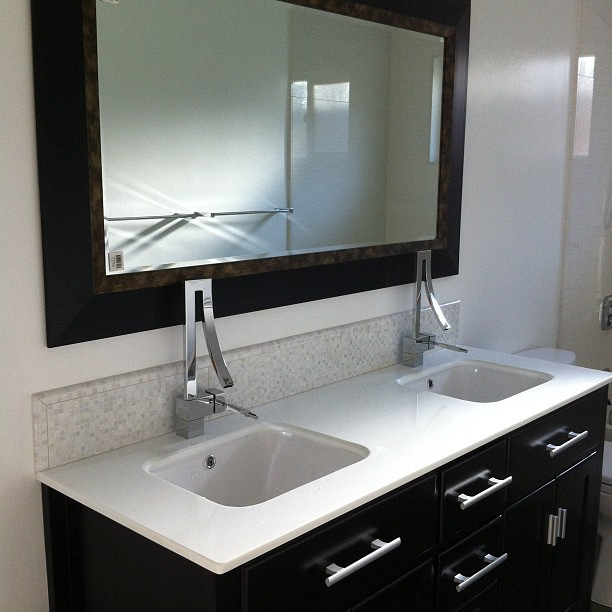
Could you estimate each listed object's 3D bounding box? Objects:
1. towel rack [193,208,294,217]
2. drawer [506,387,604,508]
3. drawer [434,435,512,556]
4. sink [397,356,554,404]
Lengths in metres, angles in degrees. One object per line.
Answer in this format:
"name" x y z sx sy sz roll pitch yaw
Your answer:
"towel rack" -0.148 -0.235 1.434 0.008 0.024 0.325 7 11 42
"drawer" 0.683 0.384 1.600 0.231 0.191 0.359 3 11 45
"drawer" 0.346 0.412 1.331 0.198 0.151 0.211 -10 5 -42
"sink" 0.511 0.257 1.885 0.483 0.135 0.237 -1 8 -6
